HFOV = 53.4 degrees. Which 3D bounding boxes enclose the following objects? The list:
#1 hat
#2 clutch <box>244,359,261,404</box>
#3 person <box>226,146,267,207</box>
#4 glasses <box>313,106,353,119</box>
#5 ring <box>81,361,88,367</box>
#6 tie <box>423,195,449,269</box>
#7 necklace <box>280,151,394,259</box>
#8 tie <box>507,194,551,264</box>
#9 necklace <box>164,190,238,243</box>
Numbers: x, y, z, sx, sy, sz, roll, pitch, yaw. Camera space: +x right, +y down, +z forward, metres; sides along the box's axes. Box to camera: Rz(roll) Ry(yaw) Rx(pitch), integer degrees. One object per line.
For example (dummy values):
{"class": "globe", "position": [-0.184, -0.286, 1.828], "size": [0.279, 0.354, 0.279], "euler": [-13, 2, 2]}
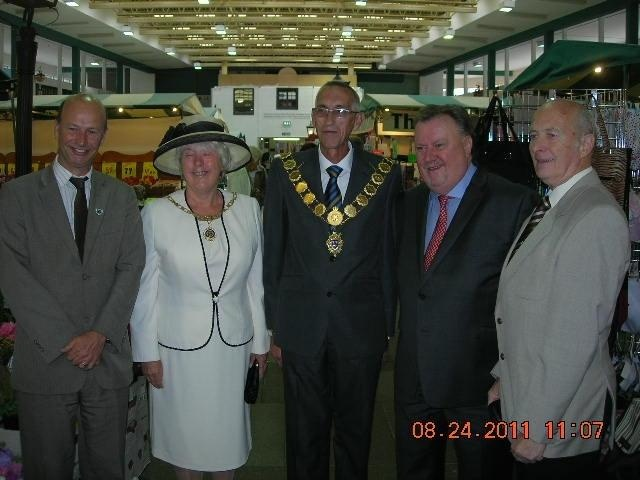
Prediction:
{"class": "hat", "position": [-0.688, -0.487, 3.532], "size": [0.478, 0.203, 0.511], "euler": [-4, -21, 28]}
{"class": "clutch", "position": [-0.365, 0.774, 3.430], "size": [0.045, 0.206, 0.092], "euler": [9, -13, -40]}
{"class": "person", "position": [-0.658, -0.544, 5.595], "size": [0.192, 0.341, 0.777], "euler": [-9, 8, 21]}
{"class": "glasses", "position": [0.066, -0.689, 3.408], "size": [0.219, 0.060, 0.088], "euler": [0, 10, -1]}
{"class": "ring", "position": [-1.171, 0.619, 3.146], "size": [0.033, 0.030, 0.010], "euler": [-2, 9, -13]}
{"class": "tie", "position": [0.581, -0.045, 3.226], "size": [0.080, 0.483, 0.064], "euler": [4, -26, 18]}
{"class": "necklace", "position": [0.068, -0.194, 3.465], "size": [0.573, 0.621, 0.098], "euler": [1, 29, -5]}
{"class": "tie", "position": [0.970, -0.039, 2.965], "size": [0.041, 0.385, 0.049], "euler": [41, -14, -16]}
{"class": "necklace", "position": [-0.622, -0.187, 3.405], "size": [0.292, 0.101, 0.298], "euler": [-3, 44, -27]}
